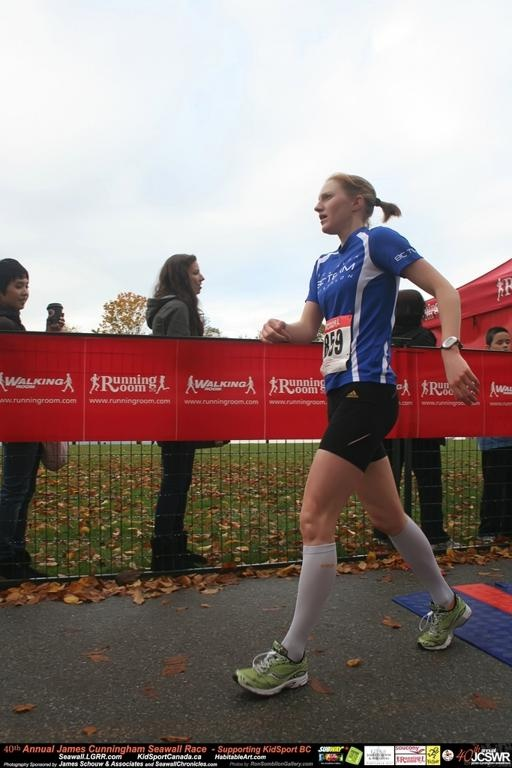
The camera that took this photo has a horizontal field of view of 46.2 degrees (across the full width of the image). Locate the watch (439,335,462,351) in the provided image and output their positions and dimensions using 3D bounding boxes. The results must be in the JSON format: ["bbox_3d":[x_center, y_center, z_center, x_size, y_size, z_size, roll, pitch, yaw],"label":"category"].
[{"bbox_3d":[0.792,-0.168,2.464,0.085,0.052,0.080,-8,-30,2],"label":"watch"}]

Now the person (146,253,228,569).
[{"bbox_3d":[-0.592,0.172,4.647,0.484,2.430,0.629,-2,1,-9],"label":"person"}]

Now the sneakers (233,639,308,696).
[{"bbox_3d":[0.086,1.210,2.532,0.377,0.194,0.143,11,-16,-24],"label":"sneakers"}]

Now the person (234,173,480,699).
[{"bbox_3d":[0.466,0.159,2.809,1.025,2.419,0.952,-1,1,15],"label":"person"}]
